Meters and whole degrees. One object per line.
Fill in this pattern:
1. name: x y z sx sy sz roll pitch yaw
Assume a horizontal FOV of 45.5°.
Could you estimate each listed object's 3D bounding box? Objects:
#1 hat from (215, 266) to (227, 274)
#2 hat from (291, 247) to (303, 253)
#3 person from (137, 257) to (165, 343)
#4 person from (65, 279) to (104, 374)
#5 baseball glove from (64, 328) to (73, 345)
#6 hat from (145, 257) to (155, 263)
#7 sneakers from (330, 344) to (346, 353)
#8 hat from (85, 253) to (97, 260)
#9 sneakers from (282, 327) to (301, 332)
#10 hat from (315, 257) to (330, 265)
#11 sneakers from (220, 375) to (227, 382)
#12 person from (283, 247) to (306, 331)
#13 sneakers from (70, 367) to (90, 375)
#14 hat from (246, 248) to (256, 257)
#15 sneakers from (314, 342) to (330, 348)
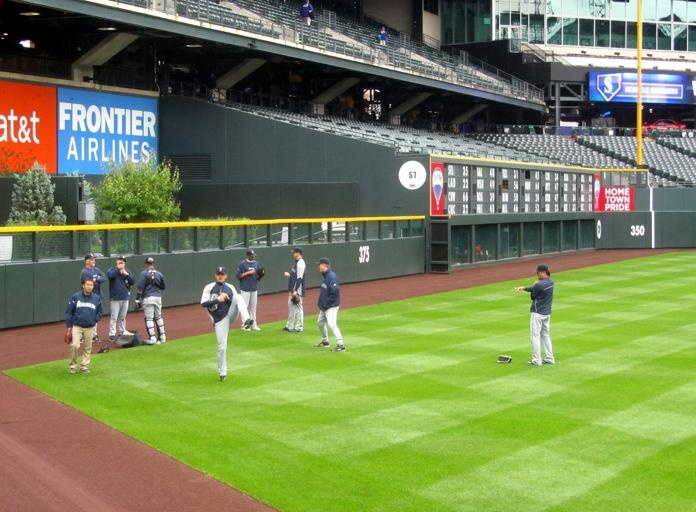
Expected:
1. hat: -3.225 0.343 20.900 0.266 0.192 0.383 1 -9 -5
2. hat: -1.753 -0.229 27.594 0.396 0.222 0.298 1 1 19
3. person: -5.298 1.160 22.268 0.712 2.353 1.112 -1 8 -13
4. person: -6.055 1.602 18.996 0.745 2.214 0.830 -2 8 -17
5. baseball glove: -6.296 1.786 18.667 0.104 0.337 0.315 -1 8 -14
6. hat: -5.756 0.097 23.965 0.200 0.157 0.313 7 3 -11
7. sneakers: -0.277 2.356 21.296 0.375 0.185 0.137 2 2 19
8. hat: -7.230 -0.006 23.206 0.241 0.095 0.154 -7 4 -1
9. sneakers: -1.619 2.101 23.738 0.511 0.220 0.176 0 7 1
10. hat: -0.717 0.160 21.682 0.338 0.181 0.252 1 8 31
11. sneakers: -2.846 2.743 18.775 0.114 0.128 0.141 3 5 23
12. person: -1.562 0.963 23.582 0.574 2.423 1.231 0 8 -5
13. sneakers: -6.246 2.628 19.300 0.510 0.239 0.176 0 5 10
14. hat: -3.133 -0.137 26.403 0.414 0.250 0.300 3 4 39
15. sneakers: -0.703 2.285 21.752 0.387 0.171 0.135 3 2 19
